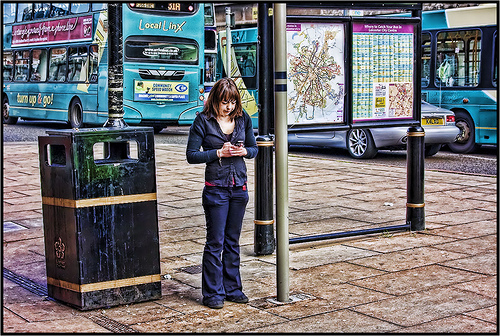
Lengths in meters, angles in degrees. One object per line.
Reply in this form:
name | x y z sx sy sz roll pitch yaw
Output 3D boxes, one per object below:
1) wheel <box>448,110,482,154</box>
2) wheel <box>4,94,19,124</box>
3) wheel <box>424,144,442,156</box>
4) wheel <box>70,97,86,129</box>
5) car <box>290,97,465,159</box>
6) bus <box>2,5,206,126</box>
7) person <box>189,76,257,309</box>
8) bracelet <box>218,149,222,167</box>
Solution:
wheel | 6.079 -1.063 15.958 1.384 1.328 0.497 -19 13 -38
wheel | -11.246 -2.773 25.393 0.417 1.127 1.167 -1 26 -39
wheel | 5.039 -0.497 14.924 0.128 0.332 0.342 6 1 -16
wheel | -6.772 -2.168 21.083 0.534 1.187 1.091 -4 11 -18
car | 3.095 -0.959 15.505 2.245 1.470 5.067 -2 7 -39
bus | -6.679 -4.614 24.561 4.754 5.313 14.280 -2 6 -42
person | -0.243 0.249 5.596 0.726 2.304 0.519 -4 10 -19
bracelet | -0.307 -0.096 5.495 0.034 0.175 0.080 -1 10 -4
